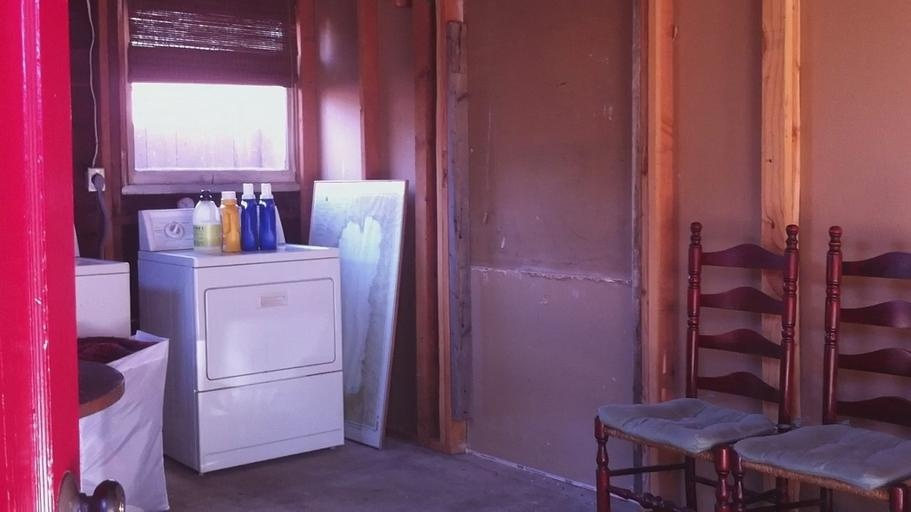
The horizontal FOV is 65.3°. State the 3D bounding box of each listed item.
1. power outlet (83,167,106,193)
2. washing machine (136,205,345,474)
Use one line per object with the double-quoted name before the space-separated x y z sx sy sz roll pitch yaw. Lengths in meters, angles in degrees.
"power outlet" -2.299 -0.491 4.549 0.143 0.187 0.141 -1 3 -32
"washing machine" -1.254 0.595 4.269 1.155 1.260 0.561 -4 10 -13
